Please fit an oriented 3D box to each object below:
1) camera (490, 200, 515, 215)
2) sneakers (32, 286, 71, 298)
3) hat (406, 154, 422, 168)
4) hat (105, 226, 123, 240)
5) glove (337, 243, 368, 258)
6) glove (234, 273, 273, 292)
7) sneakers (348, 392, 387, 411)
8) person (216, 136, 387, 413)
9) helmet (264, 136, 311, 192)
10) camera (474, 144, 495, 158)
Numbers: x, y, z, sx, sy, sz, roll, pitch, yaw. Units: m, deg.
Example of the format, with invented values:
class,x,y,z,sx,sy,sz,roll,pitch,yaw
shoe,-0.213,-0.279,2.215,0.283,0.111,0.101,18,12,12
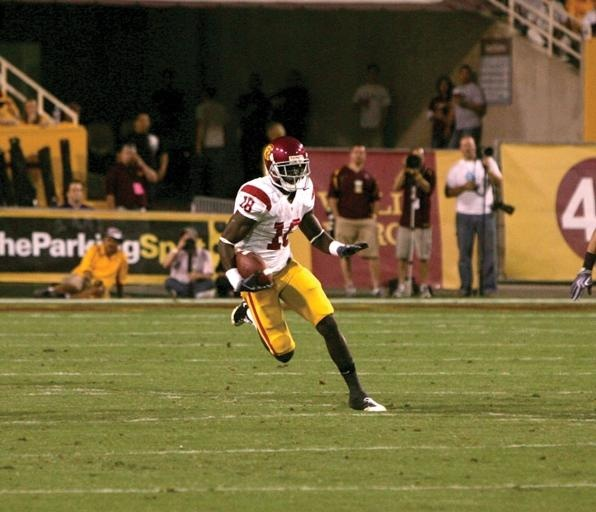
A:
class,x,y,z,sx,sy,sz,roll,pitch,yaw
camera,2.601,-0.591,19.911,0.255,0.154,0.133,26,33,12
sneakers,-3.135,0.505,19.895,0.271,0.085,0.194,5,-8,6
hat,1.459,-1.172,19.710,0.185,0.191,0.177,1,10,5
hat,-2.309,-0.248,19.824,0.221,0.174,0.288,-1,10,-7
glove,0.501,-0.009,14.096,0.230,0.091,0.131,-17,14,34
glove,-0.367,0.251,13.742,0.341,0.221,0.298,2,10,11
sneakers,0.600,1.345,13.923,0.409,0.160,0.127,-1,-4,7
person,-0.040,0.160,14.021,1.296,2.370,0.891,0,11,-2
helmet,-0.104,-0.854,14.135,0.391,0.411,0.536,-13,23,-32
camera,2.359,-1.287,19.738,0.193,0.151,0.300,0,10,-1
